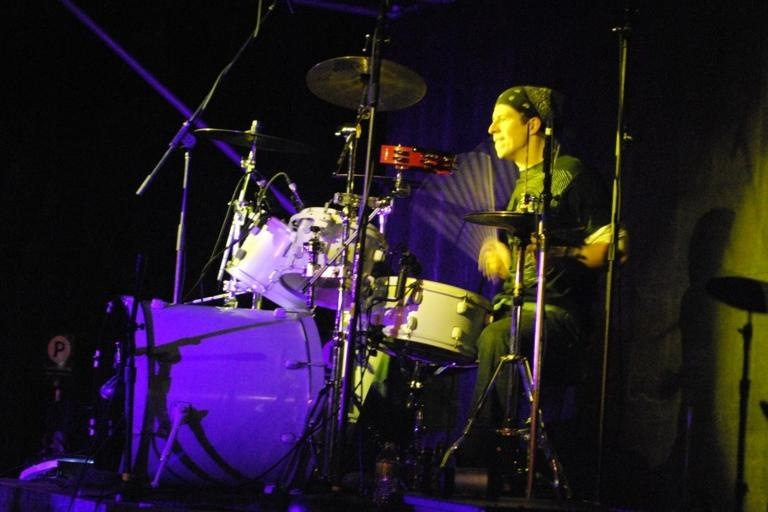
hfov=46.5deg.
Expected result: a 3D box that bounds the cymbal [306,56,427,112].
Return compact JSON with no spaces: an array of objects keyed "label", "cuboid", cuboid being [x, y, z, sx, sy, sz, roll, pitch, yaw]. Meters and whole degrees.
[{"label":"cymbal","cuboid":[-0.124,-1.213,6.195,0.689,0.160,0.682,-5,-33,14]}]

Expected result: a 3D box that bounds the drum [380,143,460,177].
[{"label":"drum","cuboid":[0.222,-0.673,6.189,0.336,0.121,0.252,8,2,-16]}]

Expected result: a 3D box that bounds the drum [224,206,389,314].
[{"label":"drum","cuboid":[-0.609,0.047,6.191,1.006,0.455,0.697,1,-38,39]}]

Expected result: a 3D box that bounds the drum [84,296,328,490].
[{"label":"drum","cuboid":[-1.020,0.881,6.021,1.603,1.434,1.354,2,12,-23]}]

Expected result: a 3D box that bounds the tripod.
[{"label":"tripod","cuboid":[0.886,0.632,6.000,0.771,1.776,0.994,-2,-13,22]}]
